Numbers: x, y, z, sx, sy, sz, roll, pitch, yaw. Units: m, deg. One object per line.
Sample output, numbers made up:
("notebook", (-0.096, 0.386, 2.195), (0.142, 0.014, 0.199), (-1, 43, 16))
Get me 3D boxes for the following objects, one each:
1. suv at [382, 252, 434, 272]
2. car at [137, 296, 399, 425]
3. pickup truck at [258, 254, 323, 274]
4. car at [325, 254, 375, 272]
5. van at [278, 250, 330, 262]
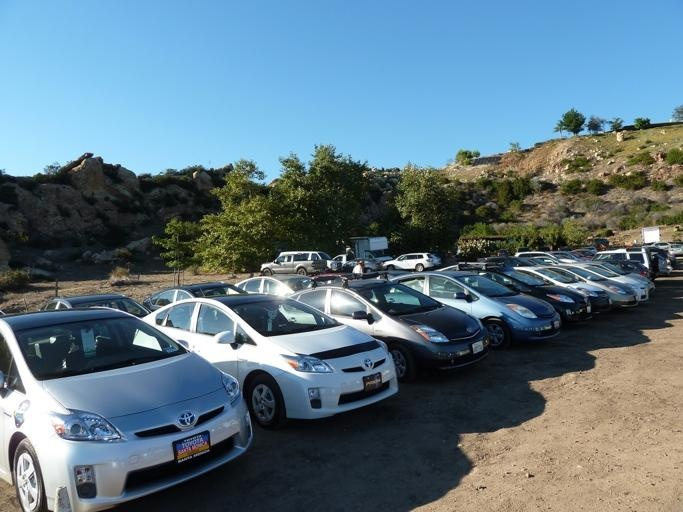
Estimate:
("suv", (5.041, 0.475, 37.507), (3.619, 1.022, 1.615), (2, 3, 29))
("car", (-1.293, 1.330, 7.693), (3.585, 1.003, 1.896), (-1, 2, 38))
("pickup truck", (-3.411, 0.484, 34.832), (3.846, 1.317, 1.682), (2, 3, 26))
("car", (0.880, 0.552, 35.790), (2.981, 0.783, 1.252), (3, 0, -6))
("van", (-2.878, 0.055, 34.783), (2.472, 0.635, 1.287), (1, 0, 8))
